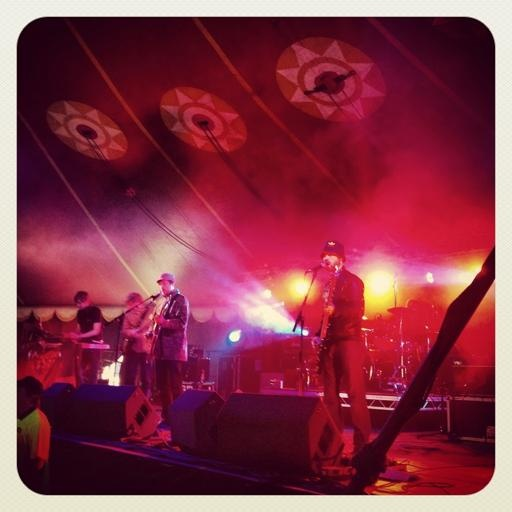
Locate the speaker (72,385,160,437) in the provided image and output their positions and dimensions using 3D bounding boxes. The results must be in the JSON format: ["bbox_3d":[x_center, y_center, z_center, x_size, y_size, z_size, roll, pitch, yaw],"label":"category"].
[{"bbox_3d":[-1.305,1.365,4.656,0.754,0.494,0.423,1,13,15],"label":"speaker"}]

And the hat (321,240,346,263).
[{"bbox_3d":[0.674,-0.068,4.519,0.176,0.166,0.174,10,-19,10],"label":"hat"}]

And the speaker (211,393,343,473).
[{"bbox_3d":[0.167,1.209,3.752,0.860,0.508,0.373,2,13,18],"label":"speaker"}]

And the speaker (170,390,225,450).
[{"bbox_3d":[-0.447,1.284,4.231,0.450,0.570,0.415,1,11,-3],"label":"speaker"}]

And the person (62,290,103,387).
[{"bbox_3d":[-1.840,0.987,5.647,0.395,1.118,0.793,-6,13,-19],"label":"person"}]

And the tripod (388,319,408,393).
[{"bbox_3d":[1.778,1.293,6.494,0.218,0.890,0.813,1,13,14],"label":"tripod"}]

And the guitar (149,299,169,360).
[{"bbox_3d":[-0.994,0.771,5.336,0.143,0.748,0.365,6,8,-18],"label":"guitar"}]

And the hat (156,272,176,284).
[{"bbox_3d":[-0.916,0.204,5.386,0.164,0.099,0.125,16,-24,-28],"label":"hat"}]
